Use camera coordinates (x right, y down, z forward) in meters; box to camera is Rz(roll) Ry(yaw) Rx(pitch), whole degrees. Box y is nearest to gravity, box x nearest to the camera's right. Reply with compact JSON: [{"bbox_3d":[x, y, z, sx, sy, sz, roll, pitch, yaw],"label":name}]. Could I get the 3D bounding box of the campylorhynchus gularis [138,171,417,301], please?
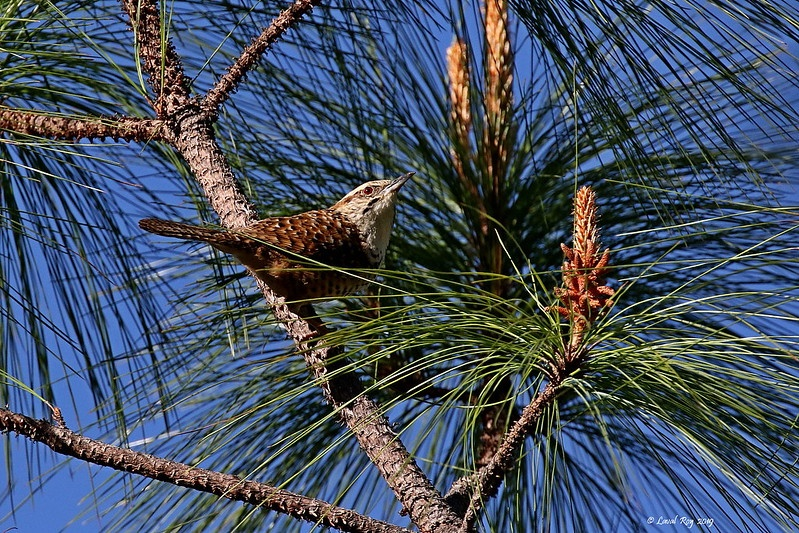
[{"bbox_3d":[-0.405,-0.144,4.092,1.010,0.339,0.584,6,-68,6],"label":"campylorhynchus gularis"}]
